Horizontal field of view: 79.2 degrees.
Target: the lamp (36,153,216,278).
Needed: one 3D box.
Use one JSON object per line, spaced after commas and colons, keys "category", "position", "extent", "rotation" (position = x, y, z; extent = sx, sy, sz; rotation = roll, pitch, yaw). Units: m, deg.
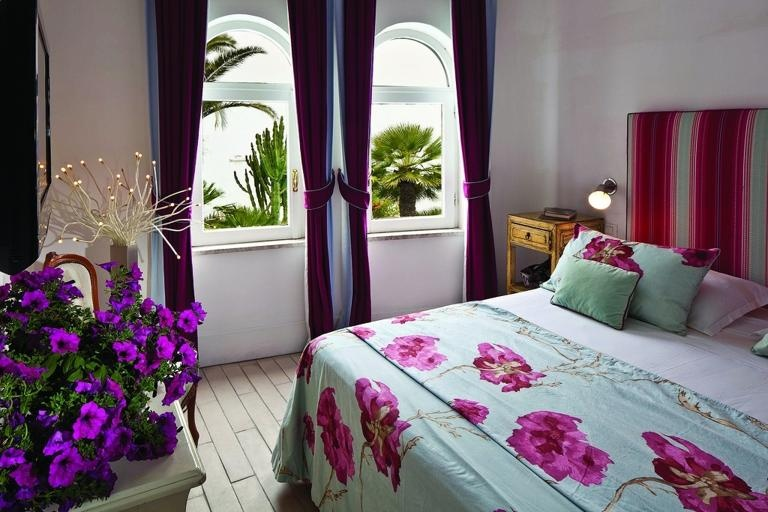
{"category": "lamp", "position": [-1.708, -0.341, 3.192], "extent": [0.972, 0.624, 0.905], "rotation": [-2, 10, -30]}
